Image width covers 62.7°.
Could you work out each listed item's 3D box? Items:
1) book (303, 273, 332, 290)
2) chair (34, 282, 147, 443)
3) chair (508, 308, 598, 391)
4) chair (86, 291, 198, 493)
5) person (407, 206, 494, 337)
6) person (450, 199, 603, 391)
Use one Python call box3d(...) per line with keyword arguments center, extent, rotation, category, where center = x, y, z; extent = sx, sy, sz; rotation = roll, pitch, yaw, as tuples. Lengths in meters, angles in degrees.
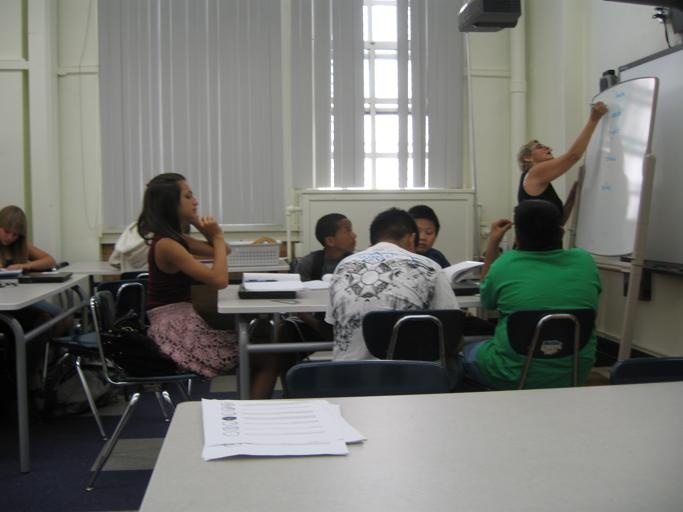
box3d(center=(-0.139, 0.158, 3.185), extent=(0.121, 0.038, 0.109), rotation=(-4, 11, -23), category="book")
box3d(center=(-1.408, 0.532, 3.085), extent=(0.523, 0.806, 0.500), rotation=(0, 8, -9), category="chair")
box3d(center=(0.853, 0.368, 2.330), extent=(0.264, 0.426, 0.291), rotation=(0, 9, 1), category="chair")
box3d(center=(-0.878, 0.544, 2.608), extent=(0.555, 0.802, 0.533), rotation=(3, -33, -34), category="chair")
box3d(center=(0.636, 0.104, 3.708), extent=(0.468, 0.850, 0.512), rotation=(5, -25, -45), category="person")
box3d(center=(0.893, 0.359, 2.657), extent=(0.529, 1.219, 0.669), rotation=(-1, 9, 3), category="person")
